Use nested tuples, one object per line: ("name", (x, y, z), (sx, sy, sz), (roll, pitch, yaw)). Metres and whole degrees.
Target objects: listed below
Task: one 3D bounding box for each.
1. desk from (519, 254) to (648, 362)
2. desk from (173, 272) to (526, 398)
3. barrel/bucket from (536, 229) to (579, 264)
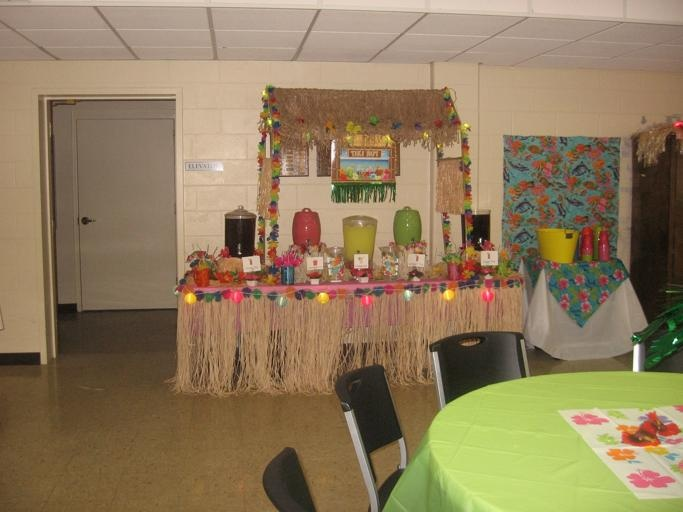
("desk", (2.452, 0.362, 5.867), (1.067, 1.017, 1.373), (-3, 24, 18))
("desk", (0.120, 0.619, 4.942), (2.925, 0.997, 0.681), (0, 2, -12))
("barrel/bucket", (2.029, -0.118, 5.573), (0.282, 0.407, 0.452), (0, 4, -27))
